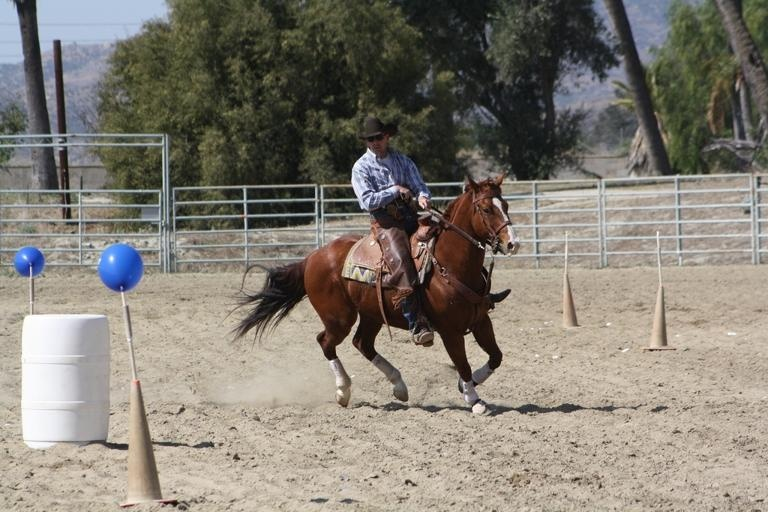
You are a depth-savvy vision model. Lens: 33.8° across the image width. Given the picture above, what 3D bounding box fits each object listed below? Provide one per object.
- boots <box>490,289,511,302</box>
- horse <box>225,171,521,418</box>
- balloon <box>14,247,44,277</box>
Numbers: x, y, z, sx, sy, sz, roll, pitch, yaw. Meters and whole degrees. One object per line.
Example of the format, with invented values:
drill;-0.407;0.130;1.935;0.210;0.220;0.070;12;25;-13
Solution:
boots;3.267;1.125;35.434;0.908;0.382;0.268;-6;2;-30
horse;-0.404;1.153;36.494;9.476;6.842;2.201;0;11;30
balloon;-10.330;0.144;36.911;0.662;0.728;0.932;21;7;-8
